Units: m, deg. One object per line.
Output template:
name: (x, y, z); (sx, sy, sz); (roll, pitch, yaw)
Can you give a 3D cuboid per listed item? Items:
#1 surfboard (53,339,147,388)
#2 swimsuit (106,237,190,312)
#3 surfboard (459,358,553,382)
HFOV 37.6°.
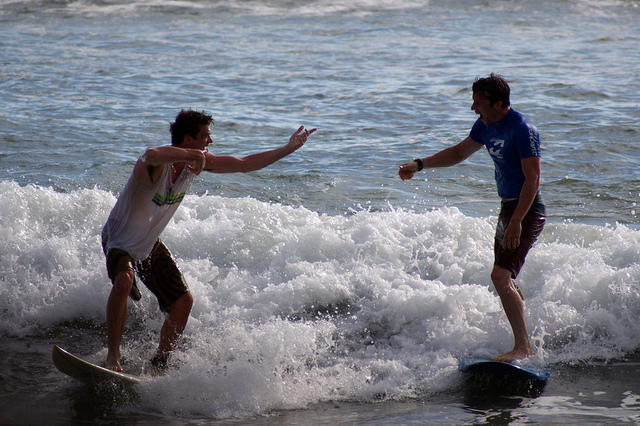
surfboard: (-3.148, 2.167, 13.381); (1.359, 0.175, 0.203); (21, 30, 2)
swimsuit: (-2.547, 0.932, 13.614); (0.837, 1.093, 1.981); (2, -4, 1)
surfboard: (2.688, 2.240, 13.575); (1.288, 0.256, 0.241); (5, 14, 3)
